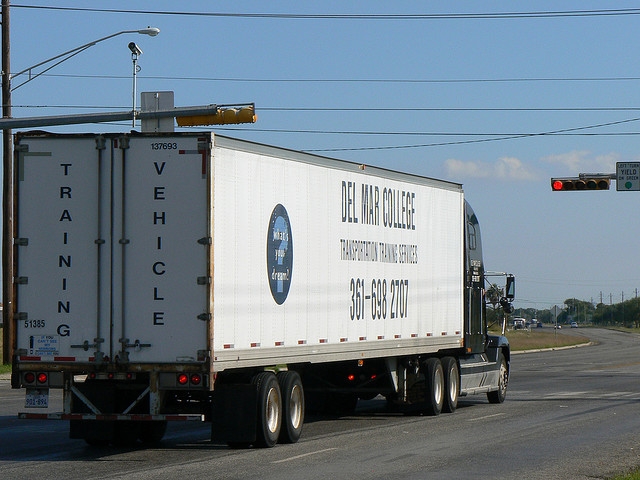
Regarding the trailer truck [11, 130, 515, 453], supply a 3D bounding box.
[{"bbox_3d":[-0.103,1.273,27.453,3.465,5.776,14.385,-5,-6,34],"label":"trailer truck"}]
